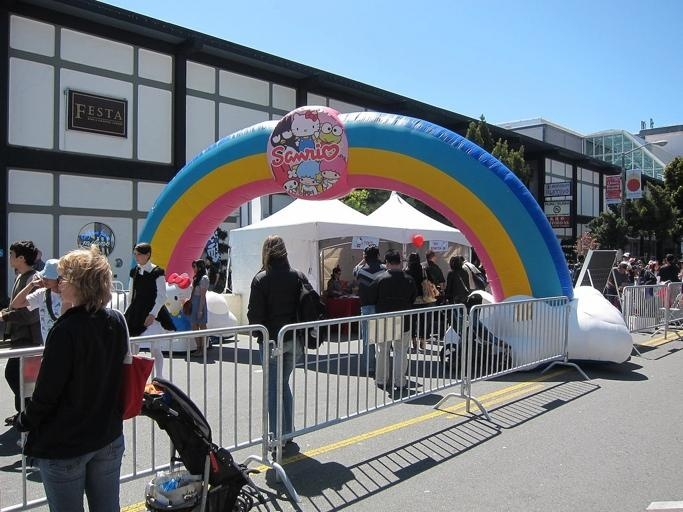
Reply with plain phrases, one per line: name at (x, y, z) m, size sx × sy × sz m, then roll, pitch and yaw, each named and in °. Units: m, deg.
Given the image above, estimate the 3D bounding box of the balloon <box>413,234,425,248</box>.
balloon at (1.839, -0.383, 13.920) m, size 0.271 × 0.169 × 0.278 m, roll 13°, pitch -32°, yaw -31°

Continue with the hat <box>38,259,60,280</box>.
hat at (-2.894, 0.140, 5.668) m, size 0.158 × 0.131 × 0.225 m, roll 2°, pitch -14°, yaw -7°

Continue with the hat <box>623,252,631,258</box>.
hat at (10.433, -0.048, 20.866) m, size 0.311 × 0.173 × 0.474 m, roll 0°, pitch 1°, yaw 33°

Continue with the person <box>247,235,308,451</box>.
person at (-0.664, 0.956, 6.072) m, size 0.630 × 2.284 × 0.883 m, roll -1°, pitch 5°, yaw -11°
